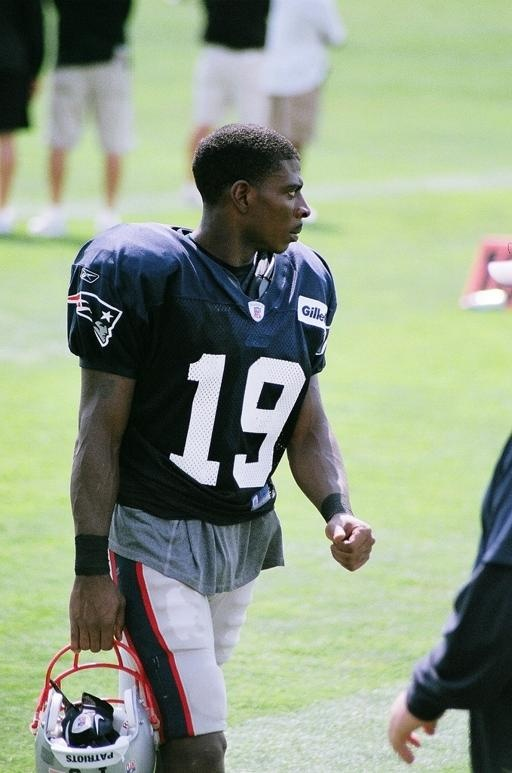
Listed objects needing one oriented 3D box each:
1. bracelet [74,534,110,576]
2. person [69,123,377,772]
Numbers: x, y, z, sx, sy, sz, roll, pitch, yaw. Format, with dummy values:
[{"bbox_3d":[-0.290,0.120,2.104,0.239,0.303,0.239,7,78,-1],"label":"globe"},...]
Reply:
[{"bbox_3d":[-0.326,0.334,2.230,0.093,0.072,0.086,-4,-10,20],"label":"bracelet"},{"bbox_3d":[-0.072,0.125,2.339,0.649,1.203,0.951,2,28,-9],"label":"person"}]
